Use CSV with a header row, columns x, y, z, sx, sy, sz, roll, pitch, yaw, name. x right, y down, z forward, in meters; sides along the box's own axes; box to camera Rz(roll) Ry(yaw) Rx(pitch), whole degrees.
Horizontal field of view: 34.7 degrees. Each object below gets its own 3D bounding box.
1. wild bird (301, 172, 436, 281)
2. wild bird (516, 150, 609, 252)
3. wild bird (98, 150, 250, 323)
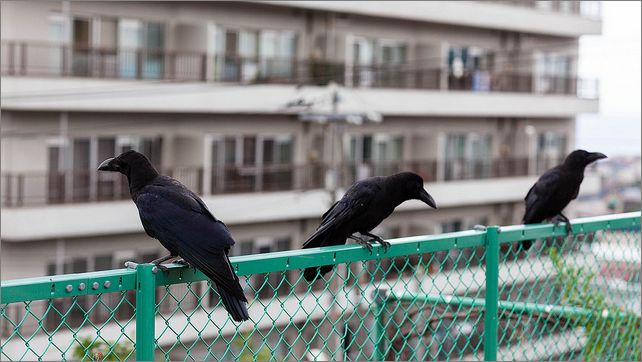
x,y,z,sx,sy,sz,roll,pitch,yaw,name
0.383,0.320,9.485,1.341,0.847,0.527,2,4,30,wild bird
2.354,0.161,10.387,0.466,1.035,1.054,-9,13,-41,wild bird
-1.181,0.441,8.831,1.400,1.387,0.416,5,12,45,wild bird
